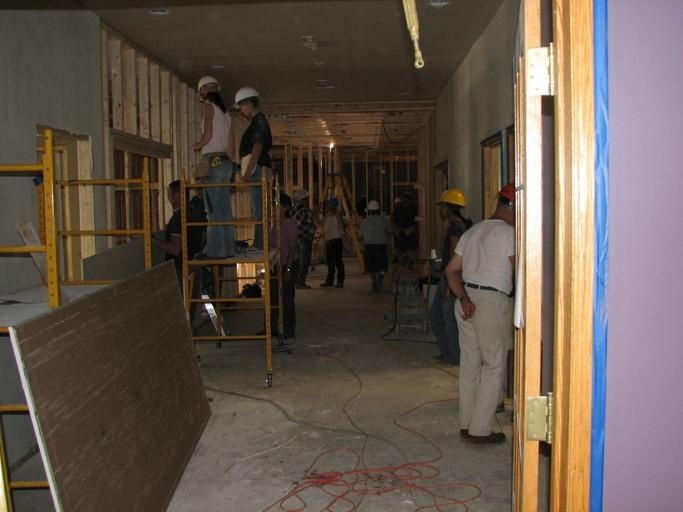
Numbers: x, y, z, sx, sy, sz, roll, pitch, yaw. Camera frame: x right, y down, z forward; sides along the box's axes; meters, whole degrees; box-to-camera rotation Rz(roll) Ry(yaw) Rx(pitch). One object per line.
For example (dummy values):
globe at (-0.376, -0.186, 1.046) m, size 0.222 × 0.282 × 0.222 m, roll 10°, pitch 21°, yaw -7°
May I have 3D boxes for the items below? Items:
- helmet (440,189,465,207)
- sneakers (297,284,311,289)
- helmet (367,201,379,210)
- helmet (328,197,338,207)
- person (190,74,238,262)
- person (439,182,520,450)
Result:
helmet at (1.111, -0.612, 6.489) m, size 0.259 × 0.162 × 0.208 m, roll 15°, pitch 12°, yaw 14°
sneakers at (-0.717, 0.575, 12.056) m, size 0.236 × 0.120 × 0.093 m, roll -1°, pitch 2°, yaw -8°
helmet at (0.688, -1.120, 14.114) m, size 0.225 × 0.136 × 0.326 m, roll -3°, pitch 14°, yaw 7°
helmet at (-0.183, -1.134, 13.315) m, size 0.168 × 0.183 × 0.276 m, roll 5°, pitch -1°, yaw -2°
person at (-1.204, -0.871, 6.058) m, size 0.336 × 1.750 × 0.836 m, roll -2°, pitch 7°, yaw -9°
person at (1.000, 0.424, 4.593) m, size 0.499 × 1.858 × 0.466 m, roll 2°, pitch 8°, yaw 24°
